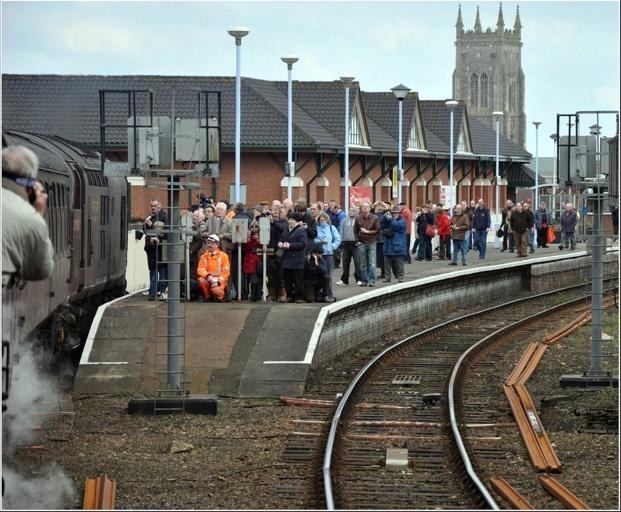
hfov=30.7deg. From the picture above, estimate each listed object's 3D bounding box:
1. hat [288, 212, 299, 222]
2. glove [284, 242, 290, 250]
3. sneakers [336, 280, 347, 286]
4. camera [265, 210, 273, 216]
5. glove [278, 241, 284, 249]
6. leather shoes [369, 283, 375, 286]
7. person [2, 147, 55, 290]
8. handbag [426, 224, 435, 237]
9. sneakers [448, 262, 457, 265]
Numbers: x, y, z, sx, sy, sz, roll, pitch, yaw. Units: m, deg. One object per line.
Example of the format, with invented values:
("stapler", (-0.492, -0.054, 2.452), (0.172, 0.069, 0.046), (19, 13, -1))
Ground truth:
("hat", (-0.307, -0.694, 20.343), (0.209, 0.158, 0.356), (1, 6, -2))
("glove", (-0.434, -0.177, 20.057), (0.070, 0.129, 0.035), (-5, -7, 4))
("sneakers", (0.677, 0.583, 24.435), (0.238, 0.104, 0.392), (2, 6, 0))
("camera", (-0.838, -0.839, 22.191), (0.115, 0.081, 0.191), (-1, -18, 3))
("glove", (-0.537, -0.189, 20.148), (0.057, 0.127, 0.108), (4, 3, 5))
("leather shoes", (1.299, 0.612, 23.892), (0.122, 0.072, 0.242), (2, 6, 0))
("person", (-2.337, -0.317, 9.293), (0.399, 1.135, 0.462), (0, 5, -16))
("handbag", (3.444, -0.724, 32.532), (0.107, 0.340, 0.299), (1, 2, 28))
("sneakers", (3.867, 0.214, 30.815), (0.181, 0.095, 0.074), (4, 2, 23))
